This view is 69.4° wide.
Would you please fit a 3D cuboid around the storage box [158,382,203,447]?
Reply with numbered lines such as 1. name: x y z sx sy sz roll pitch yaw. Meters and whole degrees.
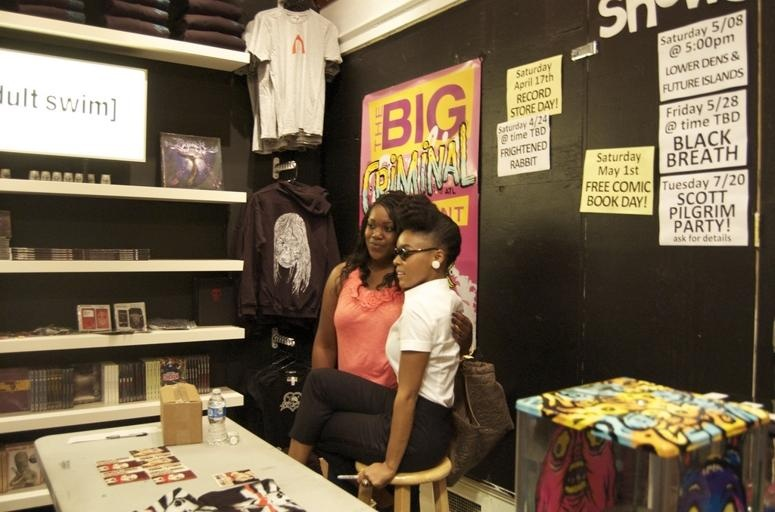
1. storage box: -1.032 0.825 2.751 0.190 0.196 0.265 3 -17 -29

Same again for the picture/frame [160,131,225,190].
1. picture/frame: -1.476 -0.704 4.165 0.511 0.509 0.020 5 -23 -25

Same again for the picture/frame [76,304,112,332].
1. picture/frame: -2.022 0.425 3.851 0.197 0.189 0.047 -4 -11 -20

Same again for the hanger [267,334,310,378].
1. hanger: -0.777 0.773 4.422 0.248 0.122 0.329 -2 13 -26

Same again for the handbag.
1. handbag: 0.438 0.820 2.756 0.307 0.527 0.146 -3 1 27

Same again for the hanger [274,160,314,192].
1. hanger: -0.785 -0.655 4.594 0.235 0.173 0.311 3 2 -40
